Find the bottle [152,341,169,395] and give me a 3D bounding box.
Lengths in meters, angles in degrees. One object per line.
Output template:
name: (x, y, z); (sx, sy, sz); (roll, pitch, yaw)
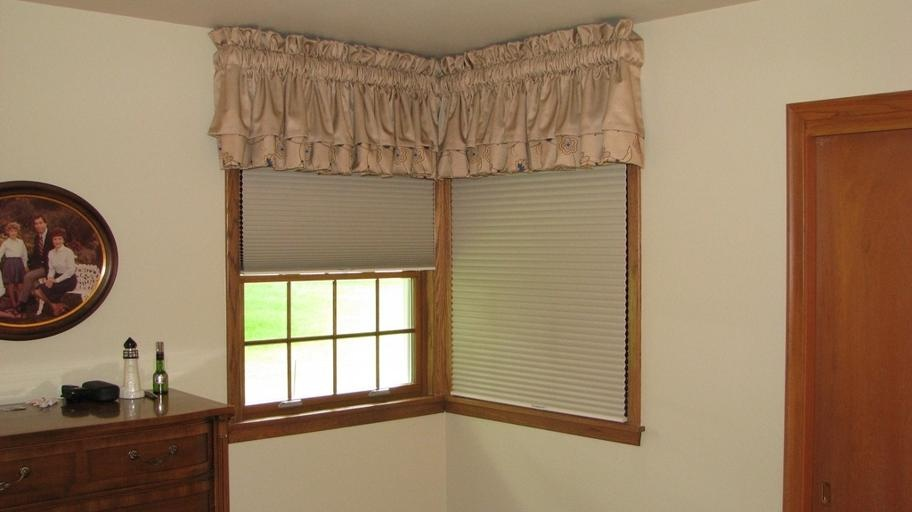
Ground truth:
bottle: (-1.866, 0.697, 4.443); (0.076, 0.309, 0.190); (1, 0, -31)
